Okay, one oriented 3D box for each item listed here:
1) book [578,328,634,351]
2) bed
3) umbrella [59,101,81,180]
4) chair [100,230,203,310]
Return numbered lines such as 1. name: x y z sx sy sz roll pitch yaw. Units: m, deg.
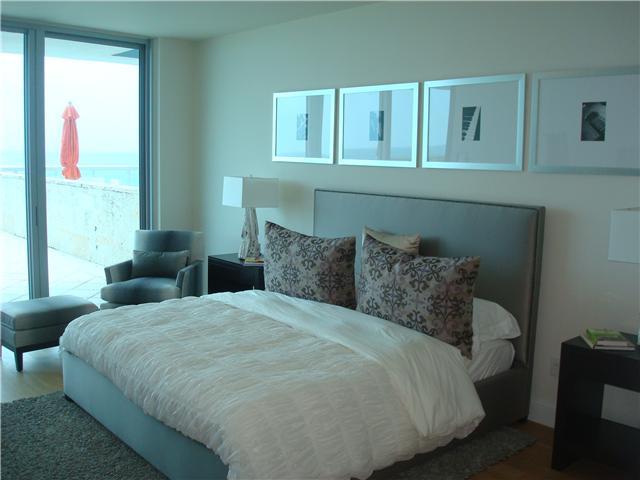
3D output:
1. book: 1.691 0.574 2.894 0.272 0.078 0.235 3 14 13
2. bed: 0.071 0.203 3.182 2.371 1.426 2.203 -3 7 -38
3. umbrella: -2.739 -1.062 5.434 0.088 0.802 0.275 8 16 28
4. chair: -1.670 0.299 5.160 0.716 1.008 0.886 0 -1 5
